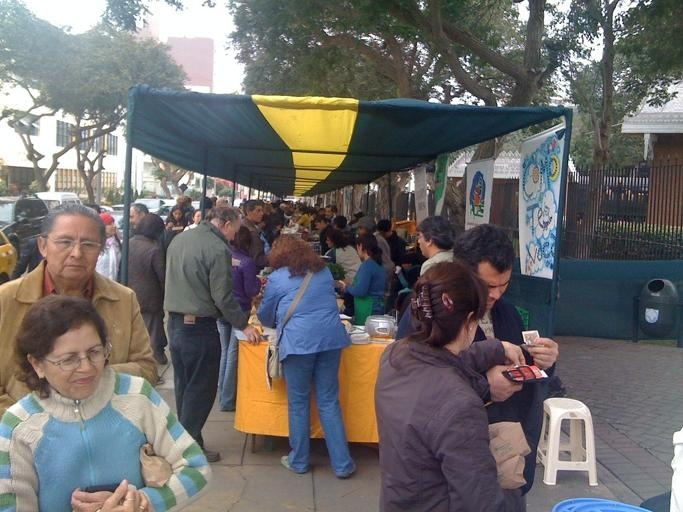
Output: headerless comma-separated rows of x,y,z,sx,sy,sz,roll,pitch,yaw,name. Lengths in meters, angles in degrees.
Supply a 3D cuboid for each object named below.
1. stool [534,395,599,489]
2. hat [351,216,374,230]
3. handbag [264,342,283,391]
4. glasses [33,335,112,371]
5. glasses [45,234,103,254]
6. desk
2.045,1.694,5.121,0.499,0.649,0.508,-7,-24,33,stool
0.473,-0.680,11.555,0.566,0.304,0.419,0,-2,2,hat
-0.593,0.948,4.944,0.182,0.461,0.461,-1,-1,-4,handbag
-1.080,0.403,2.318,0.272,0.091,0.104,-3,8,-34,glasses
-1.319,-0.055,2.835,0.236,0.080,0.081,-2,8,-30,glasses
-0.281,0.933,4.891,1.575,1.005,1.646,0,-3,-4,desk
